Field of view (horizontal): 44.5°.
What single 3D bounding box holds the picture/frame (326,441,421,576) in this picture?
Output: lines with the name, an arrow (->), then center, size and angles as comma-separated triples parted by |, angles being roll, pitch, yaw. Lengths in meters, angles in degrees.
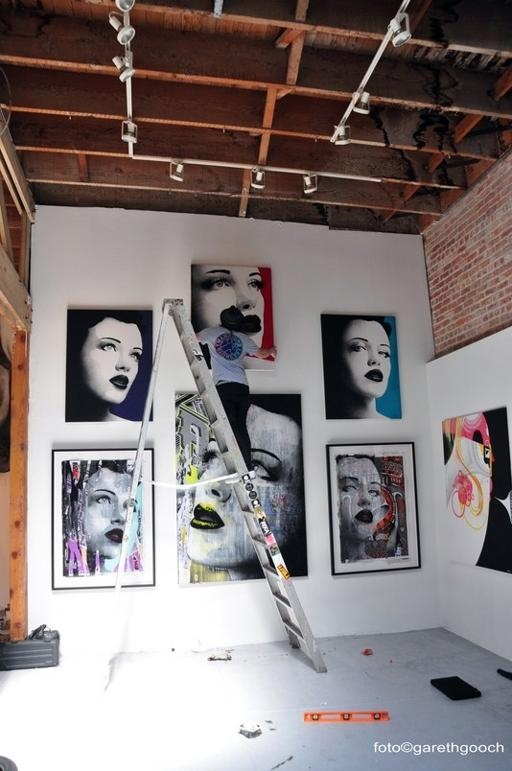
picture/frame -> 0.936, 1.060, 5.196 | 1.040, 1.452, 0.056 | 3, -13, -17

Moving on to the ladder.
ladder -> -0.326, 0.644, 4.425 | 1.546, 2.593, 1.005 | -2, -7, 5
